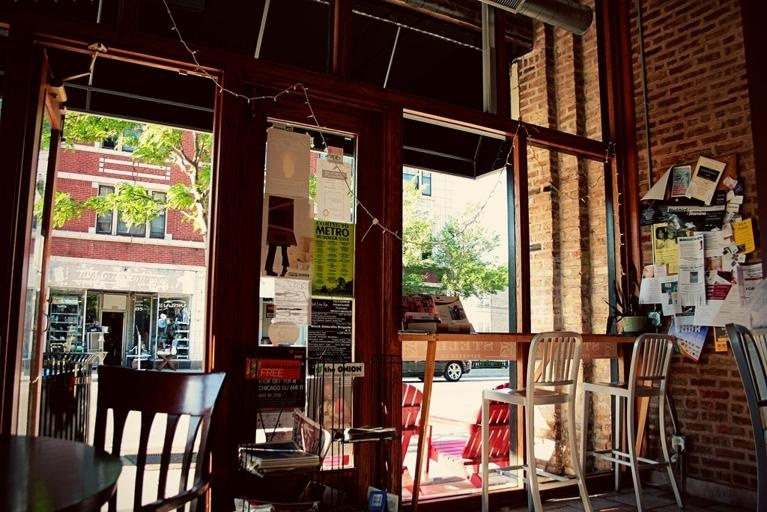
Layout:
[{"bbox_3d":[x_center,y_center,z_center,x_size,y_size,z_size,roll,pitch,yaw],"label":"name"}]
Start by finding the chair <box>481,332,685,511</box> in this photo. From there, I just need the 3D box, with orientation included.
[{"bbox_3d":[1.566,1.338,5.262,1.242,1.077,0.520,6,-8,-33],"label":"chair"}]
